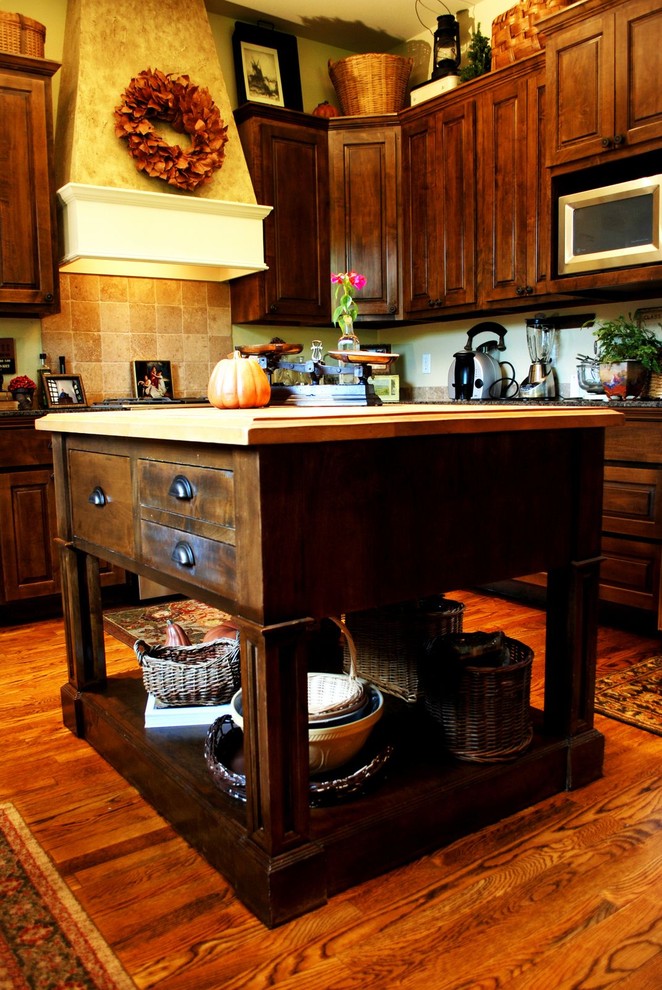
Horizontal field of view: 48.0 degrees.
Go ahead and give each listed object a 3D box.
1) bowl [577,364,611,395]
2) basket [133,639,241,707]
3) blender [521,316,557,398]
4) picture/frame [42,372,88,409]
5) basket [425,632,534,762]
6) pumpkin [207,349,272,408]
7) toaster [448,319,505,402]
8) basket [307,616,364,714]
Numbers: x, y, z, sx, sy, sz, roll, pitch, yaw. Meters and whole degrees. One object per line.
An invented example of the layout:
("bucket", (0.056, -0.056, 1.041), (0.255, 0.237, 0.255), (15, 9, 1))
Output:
("bowl", (1.130, -0.505, 3.239), (0.107, 0.104, 0.133), (-2, 0, -36))
("basket", (-0.329, 0.407, 1.728), (0.231, 0.139, 0.172), (-3, 4, -8))
("blender", (1.023, -0.670, 3.686), (0.177, 0.404, 0.277), (-1, 2, 17))
("picture/frame", (-1.281, -0.498, 3.544), (0.205, 0.204, 0.079), (-3, -2, -44))
("basket", (0.311, 0.411, 1.559), (0.216, 0.207, 0.272), (-1, 2, 21))
("pumpkin", (-0.192, -0.242, 1.611), (0.120, 0.121, 0.120), (-1, 3, -30))
("toaster", (0.768, -0.710, 3.923), (0.268, 0.425, 0.237), (3, 2, 30))
("basket", (0.041, 0.353, 1.528), (0.125, 0.171, 0.127), (-1, -21, -15))
